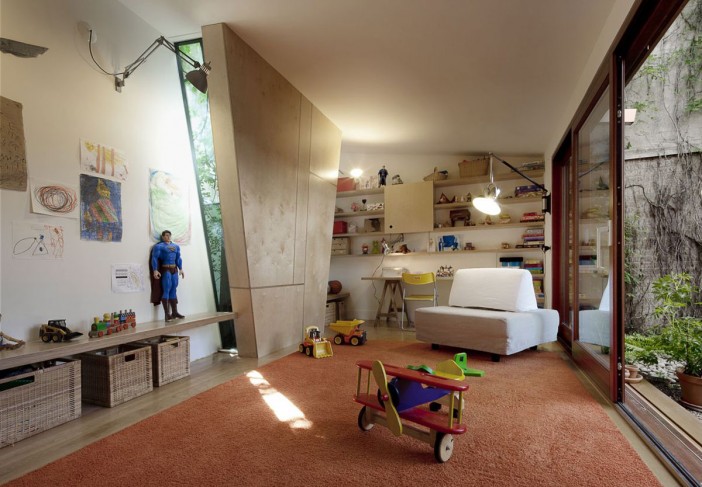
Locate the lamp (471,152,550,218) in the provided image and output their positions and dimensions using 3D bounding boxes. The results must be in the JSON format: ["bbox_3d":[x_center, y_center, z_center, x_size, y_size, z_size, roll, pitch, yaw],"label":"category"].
[{"bbox_3d":[2.341,-0.814,6.589,1.047,0.998,0.394,8,9,32],"label":"lamp"}]

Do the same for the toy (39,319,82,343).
[{"bbox_3d":[-2.507,0.752,3.892,0.287,0.152,0.166,0,-2,21],"label":"toy"}]

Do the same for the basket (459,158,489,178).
[{"bbox_3d":[1.959,-1.177,7.215,0.406,0.287,0.278,2,3,25],"label":"basket"}]

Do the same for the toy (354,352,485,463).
[{"bbox_3d":[0.550,1.205,3.496,0.708,0.512,0.826,-2,-6,40],"label":"toy"}]

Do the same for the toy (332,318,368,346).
[{"bbox_3d":[-0.038,1.190,6.071,0.419,0.320,0.315,-2,-2,16],"label":"toy"}]

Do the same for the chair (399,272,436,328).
[{"bbox_3d":[1.112,0.858,7.016,0.641,0.871,0.636,-4,4,-1],"label":"chair"}]

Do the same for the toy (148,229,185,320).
[{"bbox_3d":[-1.994,0.345,4.976,0.287,0.951,0.413,1,9,14],"label":"toy"}]

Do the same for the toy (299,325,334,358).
[{"bbox_3d":[-0.441,1.189,5.527,0.291,0.331,0.428,2,-5,-40],"label":"toy"}]

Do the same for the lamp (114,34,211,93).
[{"bbox_3d":[-1.942,-1.850,4.626,0.917,0.519,0.277,0,40,-16],"label":"lamp"}]

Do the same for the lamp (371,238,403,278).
[{"bbox_3d":[0.636,0.252,7.823,0.215,0.625,0.649,-1,1,-42],"label":"lamp"}]

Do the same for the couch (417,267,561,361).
[{"bbox_3d":[1.718,0.874,5.852,1.324,1.041,1.438,0,-3,-36],"label":"couch"}]
